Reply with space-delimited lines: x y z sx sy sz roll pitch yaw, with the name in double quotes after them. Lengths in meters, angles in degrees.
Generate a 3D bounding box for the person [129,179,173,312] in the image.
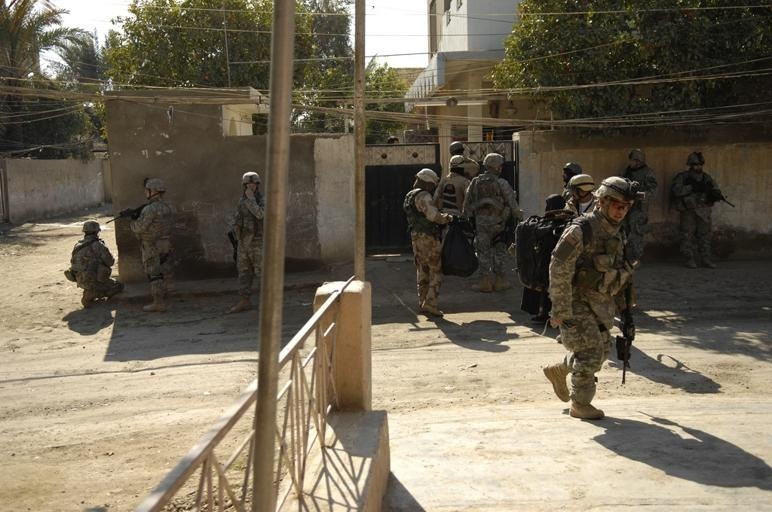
-4.105 -0.189 13.920 0.592 2.265 0.819 -1 10 4 "person"

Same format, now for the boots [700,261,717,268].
6.415 0.177 15.598 0.240 0.115 0.326 3 11 22 "boots"

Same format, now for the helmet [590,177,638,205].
2.689 -0.744 9.100 0.432 0.212 0.296 5 20 6 "helmet"

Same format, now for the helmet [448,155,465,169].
1.278 -1.687 14.121 0.257 0.245 0.334 -1 10 2 "helmet"

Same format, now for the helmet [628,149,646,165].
4.868 -1.935 15.371 0.312 0.345 0.407 6 29 26 "helmet"

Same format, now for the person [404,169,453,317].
0.696 -0.211 12.926 0.723 2.387 0.642 -2 10 0 "person"

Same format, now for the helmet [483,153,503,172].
1.857 -1.673 13.700 0.375 0.298 0.294 -11 27 -9 "helmet"

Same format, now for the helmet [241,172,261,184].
-2.296 -1.317 13.319 0.355 0.213 0.341 -1 14 -6 "helmet"

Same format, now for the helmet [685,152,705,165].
6.117 -1.967 15.502 0.290 0.131 0.309 6 49 16 "helmet"

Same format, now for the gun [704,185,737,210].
6.727 -1.177 15.801 0.327 0.497 1.010 6 12 35 "gun"

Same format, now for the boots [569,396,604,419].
2.370 1.804 9.336 0.391 0.353 0.174 -5 10 4 "boots"

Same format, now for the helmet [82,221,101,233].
-5.338 -0.527 14.262 0.264 0.213 0.279 2 10 15 "helmet"

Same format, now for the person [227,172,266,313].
-2.374 -0.212 13.422 0.611 2.386 0.587 -1 10 5 "person"

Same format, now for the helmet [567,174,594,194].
2.720 -1.014 11.163 0.354 0.264 0.280 24 24 32 "helmet"

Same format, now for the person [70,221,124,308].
-5.338 0.163 14.220 0.906 1.508 0.502 -6 11 -23 "person"

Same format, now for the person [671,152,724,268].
6.184 -0.923 15.674 0.936 2.273 0.731 2 11 18 "person"

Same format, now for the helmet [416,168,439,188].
0.707 -1.271 12.907 0.381 0.220 0.266 18 14 -46 "helmet"

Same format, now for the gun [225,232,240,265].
-2.818 -0.156 14.364 0.174 0.613 0.166 -4 -6 -25 "gun"

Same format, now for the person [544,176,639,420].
2.398 0.494 9.219 0.912 2.787 0.670 -11 14 -42 "person"

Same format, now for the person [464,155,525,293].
1.859 -0.547 13.882 0.997 2.484 0.661 1 11 13 "person"

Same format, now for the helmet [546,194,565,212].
2.415 -0.745 11.263 0.308 0.287 0.232 -1 11 -9 "helmet"

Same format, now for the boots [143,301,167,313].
-4.029 0.903 13.777 0.424 0.294 0.171 5 7 5 "boots"
